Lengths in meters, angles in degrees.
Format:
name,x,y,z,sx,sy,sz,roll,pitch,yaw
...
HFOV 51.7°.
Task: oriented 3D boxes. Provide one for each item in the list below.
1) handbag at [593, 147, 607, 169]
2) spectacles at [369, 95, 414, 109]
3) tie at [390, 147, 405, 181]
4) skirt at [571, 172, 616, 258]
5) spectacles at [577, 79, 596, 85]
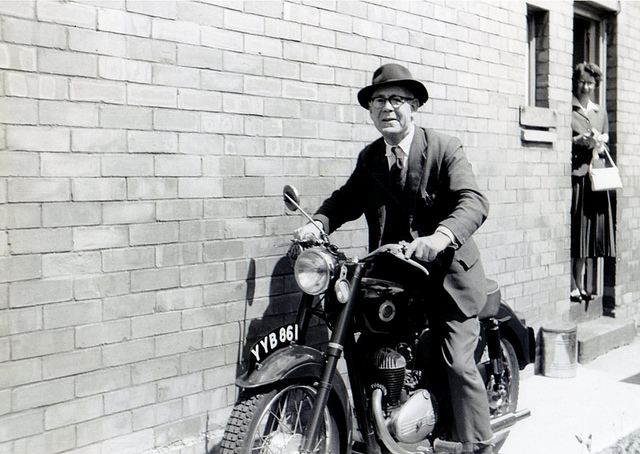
name,x,y,z,sx,sy,sz,roll,pitch,yaw
handbag,3.686,-0.907,8.775,0.169,0.287,0.076,2,5,-1
spectacles,0.525,-0.920,4.897,0.291,0.089,0.089,0,-4,7
tie,0.561,-0.478,4.933,0.051,0.212,0.140,2,-11,-8
skirt,3.607,-0.138,8.801,0.531,1.102,0.391,-1,-3,21
spectacles,3.473,-1.898,8.656,0.201,0.070,0.062,0,-4,8
